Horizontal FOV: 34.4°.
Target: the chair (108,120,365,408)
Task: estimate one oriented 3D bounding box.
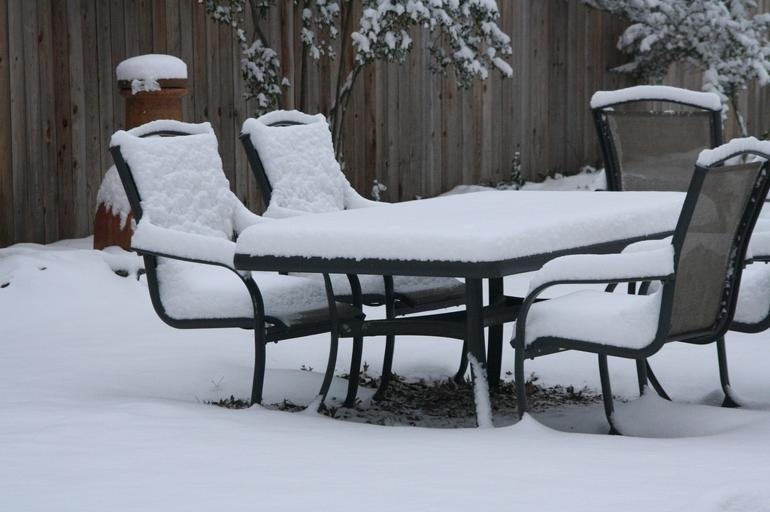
[{"bbox_3d":[-0.699,-0.035,7.051,1.414,1.929,1.302,4,4,31],"label":"chair"}]

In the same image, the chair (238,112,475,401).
[{"bbox_3d":[0.082,-0.240,7.730,1.570,2.284,1.177,3,8,37],"label":"chair"}]
